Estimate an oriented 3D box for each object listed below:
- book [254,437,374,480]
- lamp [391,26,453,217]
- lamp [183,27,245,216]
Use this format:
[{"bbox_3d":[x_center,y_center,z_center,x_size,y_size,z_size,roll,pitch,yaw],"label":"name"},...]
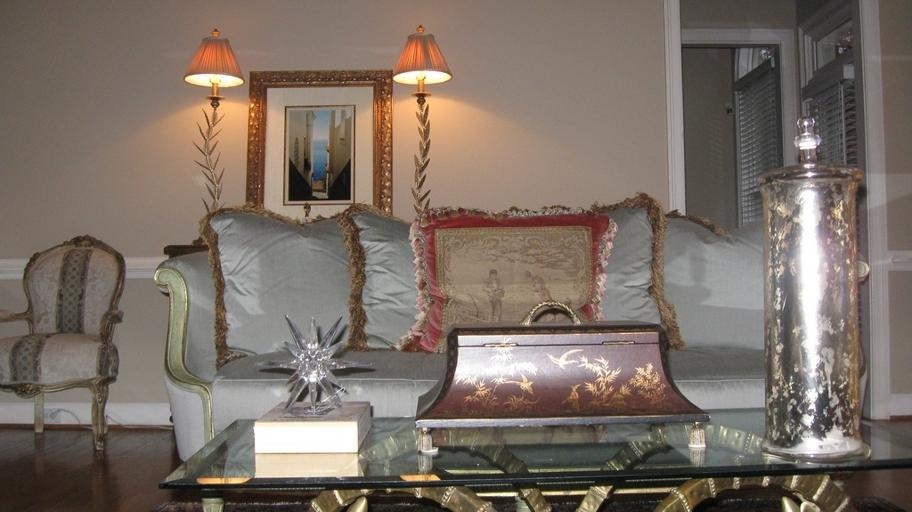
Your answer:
[{"bbox_3d":[-0.734,1.041,4.201,0.531,0.127,0.103,-1,0,-2],"label":"book"},{"bbox_3d":[-0.253,-1.097,6.602,0.478,1.480,0.470,-1,0,-3],"label":"lamp"},{"bbox_3d":[-1.880,-1.089,6.629,0.456,1.503,0.492,-1,0,-16],"label":"lamp"}]
